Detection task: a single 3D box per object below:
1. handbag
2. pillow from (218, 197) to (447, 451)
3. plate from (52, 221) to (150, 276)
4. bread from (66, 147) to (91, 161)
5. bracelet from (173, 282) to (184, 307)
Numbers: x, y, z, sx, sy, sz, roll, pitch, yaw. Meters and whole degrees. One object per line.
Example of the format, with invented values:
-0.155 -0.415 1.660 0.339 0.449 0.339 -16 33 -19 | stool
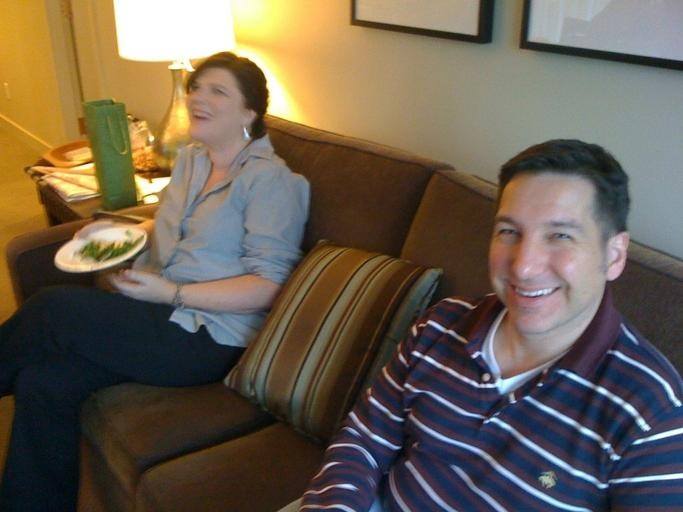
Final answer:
-1.086 -0.448 2.673 0.194 0.477 0.207 0 24 3 | handbag
0.025 0.230 1.704 0.173 0.562 0.574 29 -1 -38 | pillow
-0.898 -0.073 2.085 0.229 0.055 0.226 -24 38 -25 | plate
-1.425 -0.542 3.071 0.085 0.032 0.086 -17 46 -14 | bread
-0.571 0.131 1.997 0.021 0.067 0.048 5 2 -45 | bracelet
